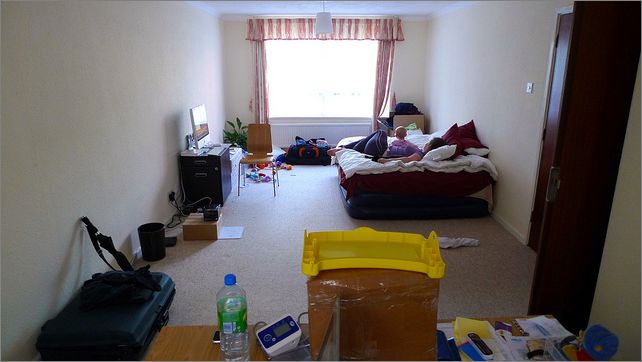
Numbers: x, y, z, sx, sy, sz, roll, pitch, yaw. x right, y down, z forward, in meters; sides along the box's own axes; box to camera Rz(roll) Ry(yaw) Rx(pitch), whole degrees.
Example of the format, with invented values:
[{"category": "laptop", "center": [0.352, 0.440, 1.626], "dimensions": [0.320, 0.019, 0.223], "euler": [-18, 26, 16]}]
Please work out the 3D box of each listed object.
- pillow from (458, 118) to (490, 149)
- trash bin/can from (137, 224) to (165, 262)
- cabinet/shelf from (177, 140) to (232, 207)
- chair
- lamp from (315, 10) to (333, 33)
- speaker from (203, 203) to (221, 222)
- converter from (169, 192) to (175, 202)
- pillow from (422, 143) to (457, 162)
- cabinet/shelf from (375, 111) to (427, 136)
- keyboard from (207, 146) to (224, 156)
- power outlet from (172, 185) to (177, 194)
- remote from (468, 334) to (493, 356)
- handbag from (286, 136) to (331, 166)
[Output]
[{"category": "pillow", "center": [2.262, -0.686, 6.453], "dimensions": [0.125, 0.374, 0.418], "euler": [7, -6, -36]}, {"category": "trash bin/can", "center": [-1.969, 0.710, 4.956], "dimensions": [0.286, 0.409, 0.226], "euler": [-9, 19, -23]}, {"category": "cabinet/shelf", "center": [-1.702, -0.065, 6.229], "dimensions": [0.614, 0.781, 0.626], "euler": [-1, 17, 2]}, {"category": "chair", "center": [-1.081, -0.412, 7.022], "dimensions": [0.690, 1.025, 1.267], "euler": [-3, 17, -6]}, {"category": "lamp", "center": [0.026, -2.517, 6.739], "dimensions": [0.340, 0.337, 0.334], "euler": [-16, 29, -32]}, {"category": "speaker", "center": [-1.415, 0.413, 5.441], "dimensions": [0.199, 0.159, 0.222], "euler": [-3, 17, -5]}, {"category": "converter", "center": [-2.021, 0.211, 5.747], "dimensions": [0.064, 0.107, 0.119], "euler": [0, 11, -2]}, {"category": "pillow", "center": [1.664, -0.386, 5.915], "dimensions": [0.329, 0.094, 0.280], "euler": [-31, 14, -30]}, {"category": "cabinet/shelf", "center": [1.628, -1.213, 8.685], "dimensions": [0.596, 0.473, 0.819], "euler": [-2, 12, -8]}, {"category": "keyboard", "center": [-1.528, -0.433, 6.144], "dimensions": [0.172, 0.038, 0.168], "euler": [0, 24, 2]}, {"category": "power outlet", "center": [-2.023, 0.116, 5.861], "dimensions": [0.077, 0.085, 0.133], "euler": [-1, 17, -4]}, {"category": "remote", "center": [1.120, 1.148, 3.011], "dimensions": [0.086, 0.031, 0.160], "euler": [-1, 27, -24]}, {"category": "handbag", "center": [-0.263, -0.577, 8.362], "dimensions": [0.589, 0.322, 0.754], "euler": [0, 13, 0]}]
